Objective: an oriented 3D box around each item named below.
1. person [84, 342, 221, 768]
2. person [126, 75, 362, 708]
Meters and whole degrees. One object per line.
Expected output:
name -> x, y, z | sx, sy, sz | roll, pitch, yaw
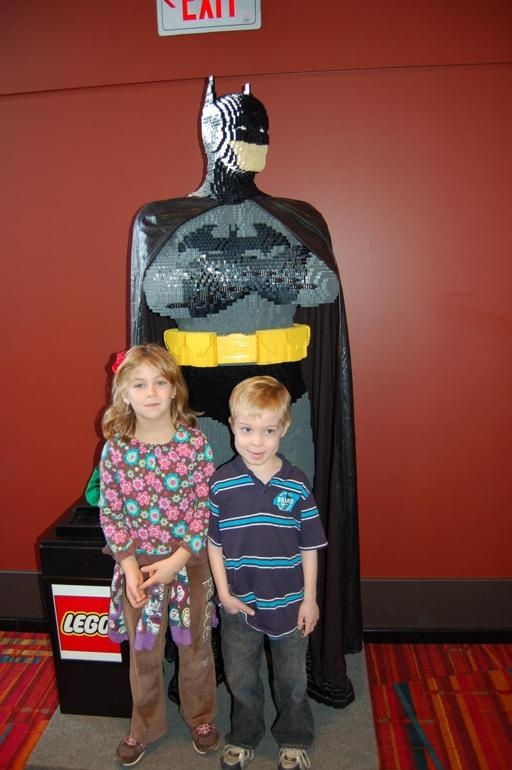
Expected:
person -> -0.245, 0.444, 1.665 | 0.284, 1.095, 0.255 | -1, 8, -5
person -> -0.024, 0.030, 1.883 | 0.638, 1.630, 0.431 | -3, 20, -5
